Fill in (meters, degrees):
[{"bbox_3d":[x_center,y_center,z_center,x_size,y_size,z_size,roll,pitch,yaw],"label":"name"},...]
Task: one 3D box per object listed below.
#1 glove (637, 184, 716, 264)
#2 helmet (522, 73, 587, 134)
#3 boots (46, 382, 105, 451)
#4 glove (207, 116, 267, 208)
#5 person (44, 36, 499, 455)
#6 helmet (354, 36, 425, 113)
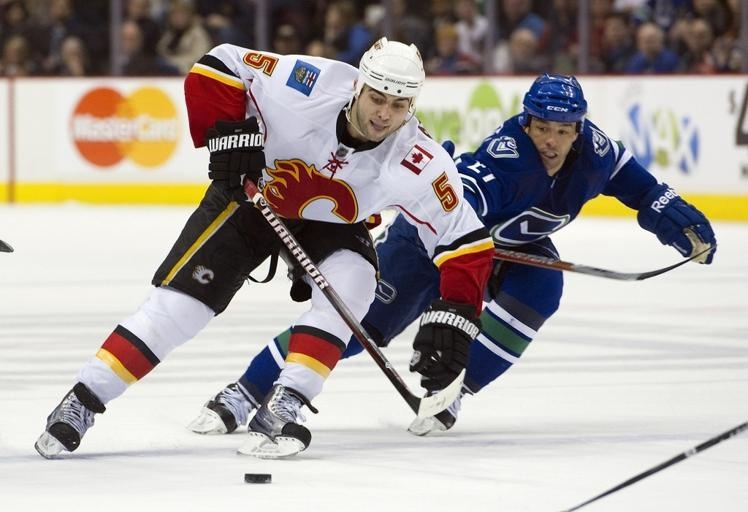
[{"bbox_3d":[1.267,-0.126,3.955,0.384,0.229,0.167,43,39,20],"label":"glove"},{"bbox_3d":[0.751,-0.627,3.873,0.250,0.269,0.300,10,26,11],"label":"helmet"},{"bbox_3d":[-1.061,0.574,3.332,0.120,0.161,0.369,19,4,-1],"label":"boots"},{"bbox_3d":[-0.445,-0.325,3.486,0.325,0.299,0.256,4,-4,-7],"label":"glove"},{"bbox_3d":[-0.318,-0.050,3.444,1.485,1.483,0.557,0,8,-3],"label":"person"},{"bbox_3d":[0.052,-0.644,3.335,0.240,0.285,0.221,0,7,-2],"label":"helmet"}]
